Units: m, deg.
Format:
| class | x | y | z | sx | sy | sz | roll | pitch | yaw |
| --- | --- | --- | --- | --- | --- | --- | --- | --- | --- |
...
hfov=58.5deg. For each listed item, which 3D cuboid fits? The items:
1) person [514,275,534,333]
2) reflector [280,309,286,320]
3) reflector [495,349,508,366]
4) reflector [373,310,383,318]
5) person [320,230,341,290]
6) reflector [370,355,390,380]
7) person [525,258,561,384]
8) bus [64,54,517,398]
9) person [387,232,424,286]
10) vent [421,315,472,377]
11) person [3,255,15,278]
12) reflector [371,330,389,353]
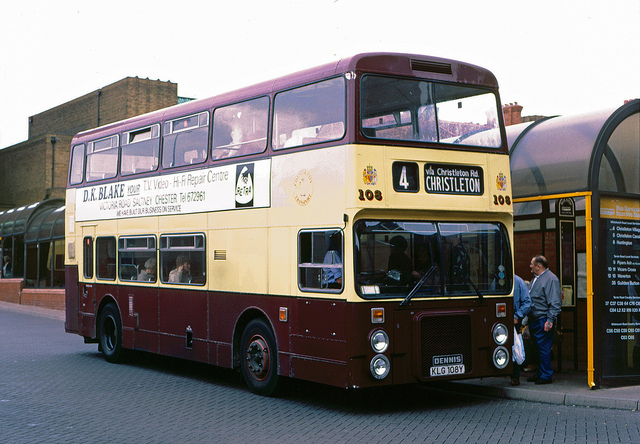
| class | x | y | z | sx | sy | sz | roll | pitch | yaw |
| --- | --- | --- | --- | --- | --- | --- | --- | --- | --- |
| person | 3.625 | 1.463 | 10.256 | 0.284 | 1.111 | 0.919 | -5 | 9 | 23 |
| reflector | -0.631 | 1.561 | 9.692 | 0.017 | 0.193 | 0.158 | -1 | 2 | -32 |
| reflector | 3.021 | 2.251 | 9.527 | 0.257 | 0.262 | 0.031 | -14 | 9 | -32 |
| reflector | 0.877 | 1.388 | 8.682 | 0.165 | 0.142 | 0.024 | -12 | 8 | -14 |
| person | 0.216 | 0.565 | 8.967 | 0.452 | 0.859 | 0.341 | 3 | -5 | -41 |
| reflector | 0.885 | 2.193 | 8.660 | 0.349 | 0.393 | 0.048 | 2 | -2 | -38 |
| person | 4.089 | 1.826 | 10.612 | 0.834 | 2.228 | 0.617 | -14 | 9 | -37 |
| bus | -1.455 | 0.197 | 13.576 | 4.458 | 6.049 | 11.798 | 2 | -4 | -36 |
| person | 1.304 | 0.567 | 8.944 | 0.709 | 0.988 | 0.513 | -1 | 4 | -35 |
| vent | 1.997 | 1.874 | 9.233 | 0.667 | 1.072 | 0.699 | 2 | -3 | -12 |
| person | -20.256 | 2.863 | 37.015 | 0.561 | 1.267 | 1.929 | -14 | 8 | -35 |
| reflector | 0.889 | 1.805 | 8.663 | 0.311 | 0.378 | 0.045 | -3 | 0 | -37 |
